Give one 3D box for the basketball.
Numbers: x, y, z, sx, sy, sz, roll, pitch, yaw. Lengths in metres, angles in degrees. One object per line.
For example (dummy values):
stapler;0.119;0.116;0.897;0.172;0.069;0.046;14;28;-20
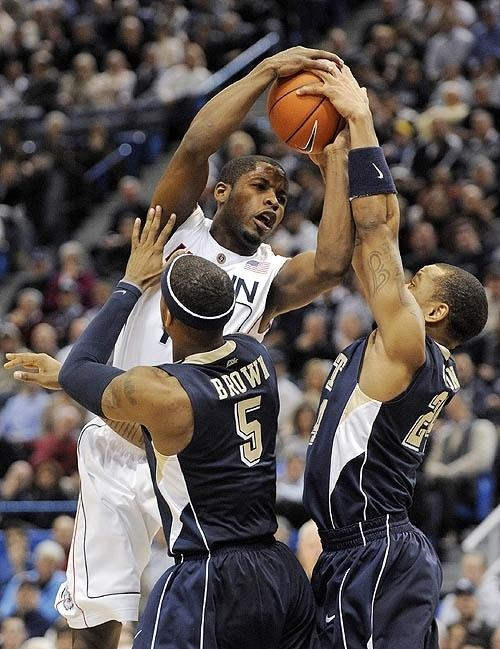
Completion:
basketball;0.295;-0.874;3.870;0.377;0.343;0.369;0;91;6
